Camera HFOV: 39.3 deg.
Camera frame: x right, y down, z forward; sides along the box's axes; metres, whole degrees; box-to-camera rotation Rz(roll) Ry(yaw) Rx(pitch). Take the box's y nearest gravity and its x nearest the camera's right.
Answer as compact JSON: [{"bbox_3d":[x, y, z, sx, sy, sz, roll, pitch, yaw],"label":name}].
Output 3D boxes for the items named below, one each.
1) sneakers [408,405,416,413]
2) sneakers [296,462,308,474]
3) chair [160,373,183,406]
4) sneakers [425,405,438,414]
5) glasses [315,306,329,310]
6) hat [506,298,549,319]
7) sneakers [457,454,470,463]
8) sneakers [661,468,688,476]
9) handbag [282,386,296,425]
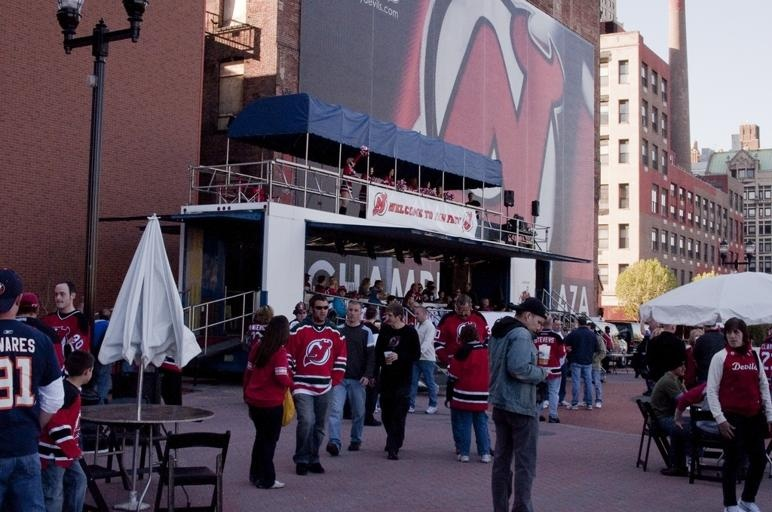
[{"bbox_3d":[0.715,4.142,29.251,0.219,0.252,0.552,-1,-12,4],"label":"sneakers"},{"bbox_3d":[-1.738,4.429,22.622,0.216,0.218,0.224,4,-9,-16],"label":"sneakers"},{"bbox_3d":[-4.751,2.904,23.977,0.382,0.701,0.376,-2,-13,8],"label":"chair"},{"bbox_3d":[1.262,4.142,29.219,0.168,0.172,0.437,-3,-8,24],"label":"sneakers"},{"bbox_3d":[-1.318,1.095,22.696,0.252,0.102,0.121,4,-4,-24],"label":"glasses"},{"bbox_3d":[2.804,1.006,20.879,0.686,0.379,0.437,4,-6,3],"label":"hat"},{"bbox_3d":[1.726,4.436,23.763,0.107,0.150,0.313,1,-13,-6],"label":"sneakers"},{"bbox_3d":[6.277,4.627,23.384,0.560,0.235,0.190,2,-6,20],"label":"sneakers"},{"bbox_3d":[-1.977,2.996,21.950,0.263,0.864,0.668,0,-17,-4],"label":"handbag"}]
